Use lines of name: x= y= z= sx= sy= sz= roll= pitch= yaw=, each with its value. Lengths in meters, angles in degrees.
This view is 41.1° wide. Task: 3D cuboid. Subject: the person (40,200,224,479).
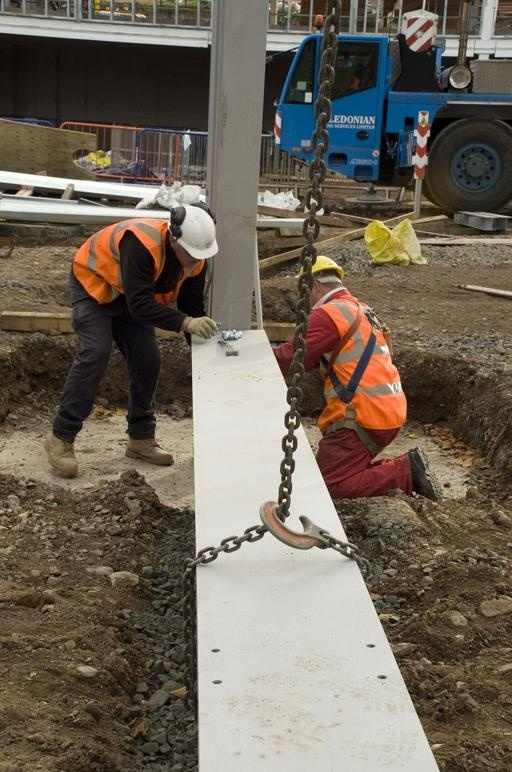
person: x=-0.651 y=-0.192 z=3.646 sx=0.809 sy=1.534 sz=0.963 roll=-3 pitch=14 yaw=-28

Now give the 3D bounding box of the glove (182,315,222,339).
glove: x=-0.261 y=-0.279 z=3.416 sx=0.252 sy=0.127 sz=0.117 roll=-1 pitch=1 yaw=9

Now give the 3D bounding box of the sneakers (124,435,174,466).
sneakers: x=-0.641 y=0.382 z=4.253 sx=0.349 sy=0.187 sz=0.127 roll=12 pitch=16 yaw=1

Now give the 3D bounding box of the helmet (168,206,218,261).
helmet: x=-0.286 y=-0.737 z=3.245 sx=0.245 sy=0.258 sz=0.194 roll=-8 pitch=17 yaw=-42

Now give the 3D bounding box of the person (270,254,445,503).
person: x=0.505 y=-0.015 z=3.422 sx=0.858 sy=1.205 sz=0.432 roll=3 pitch=13 yaw=-3
